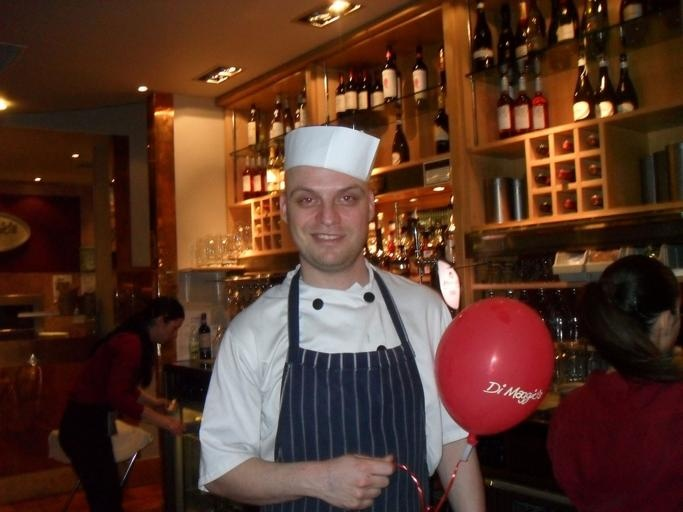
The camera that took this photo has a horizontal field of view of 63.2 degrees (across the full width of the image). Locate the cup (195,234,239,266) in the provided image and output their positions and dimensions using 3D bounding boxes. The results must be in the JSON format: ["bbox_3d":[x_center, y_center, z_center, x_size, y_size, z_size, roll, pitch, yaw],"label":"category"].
[{"bbox_3d":[-1.088,-0.048,4.831,0.275,0.224,0.282,-1,-4,0],"label":"cup"}]

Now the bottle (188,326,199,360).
[{"bbox_3d":[-1.309,0.762,4.896,0.089,0.232,0.095,-2,1,0],"label":"bottle"}]
